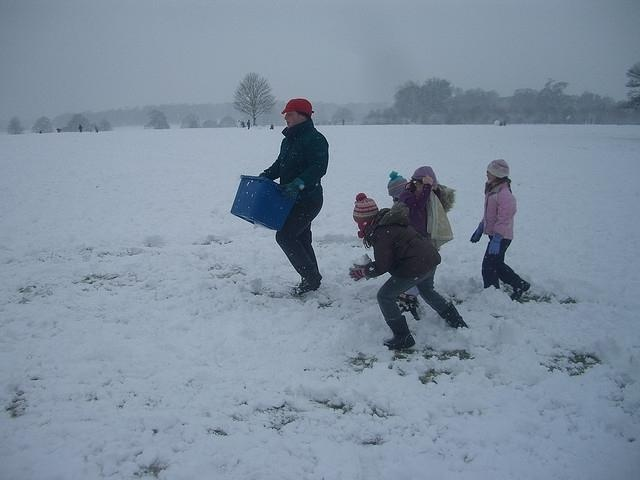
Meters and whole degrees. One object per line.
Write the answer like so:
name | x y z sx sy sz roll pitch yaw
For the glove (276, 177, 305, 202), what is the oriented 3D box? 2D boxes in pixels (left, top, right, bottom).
glove | -0.363 -0.650 7.045 0.318 0.282 0.165 2 15 -4

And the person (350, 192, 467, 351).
person | 1.022 0.403 6.701 1.287 1.817 0.544 3 14 3

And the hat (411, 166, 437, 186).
hat | 1.378 -0.846 7.180 0.291 0.256 0.369 9 17 23

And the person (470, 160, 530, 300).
person | 2.518 -0.159 7.504 0.796 1.862 0.532 8 15 21

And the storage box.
storage box | -0.788 -0.488 7.176 0.773 0.610 0.651 15 -17 45

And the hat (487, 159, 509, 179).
hat | 2.401 -0.962 7.393 0.283 0.280 0.223 15 21 22

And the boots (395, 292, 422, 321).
boots | 1.184 0.889 7.233 0.245 0.388 0.156 -5 -10 8

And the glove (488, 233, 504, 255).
glove | 2.371 0.061 7.387 0.191 0.297 0.109 12 17 32
